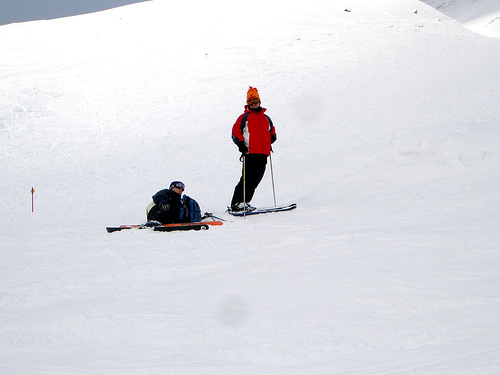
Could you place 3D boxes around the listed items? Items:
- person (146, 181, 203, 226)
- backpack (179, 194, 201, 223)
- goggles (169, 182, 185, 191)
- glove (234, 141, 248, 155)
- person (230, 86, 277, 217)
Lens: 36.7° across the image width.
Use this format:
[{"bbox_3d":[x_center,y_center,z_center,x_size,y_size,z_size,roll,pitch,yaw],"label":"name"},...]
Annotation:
[{"bbox_3d":[-1.480,0.366,15.606,1.107,1.145,0.857,3,-25,-11],"label":"person"},{"bbox_3d":[-1.201,0.419,15.408,0.444,0.659,0.317,3,-17,-6],"label":"backpack"},{"bbox_3d":[-1.473,-0.038,15.468,0.198,0.078,0.145,-14,-15,36],"label":"goggles"},{"bbox_3d":[-0.167,-0.858,16.014,0.260,0.290,0.283,1,-16,1],"label":"glove"},{"bbox_3d":[0.088,-0.765,16.049,0.912,2.874,0.770,1,-17,2],"label":"person"}]
